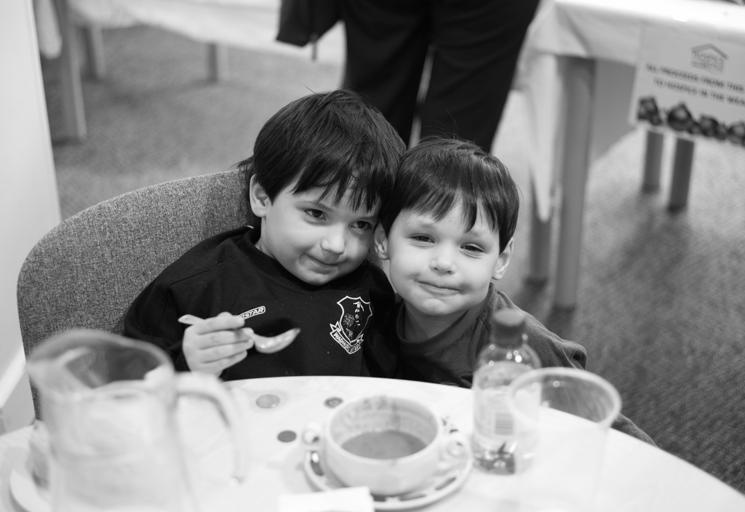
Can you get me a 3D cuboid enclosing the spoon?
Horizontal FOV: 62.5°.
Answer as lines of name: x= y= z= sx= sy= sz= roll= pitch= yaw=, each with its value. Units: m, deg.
spoon: x=-0.209 y=0.120 z=0.939 sx=0.159 sy=0.037 sz=0.037 roll=14 pitch=35 yaw=25
